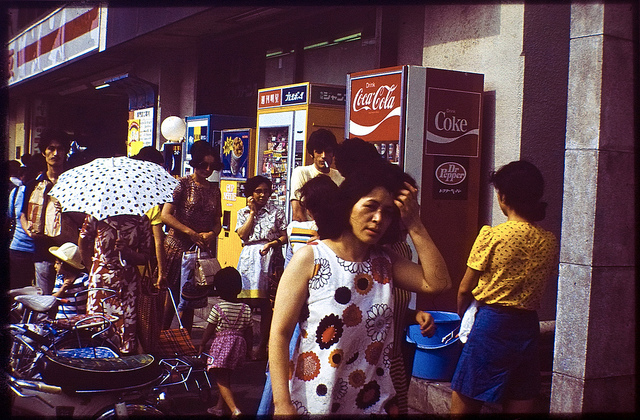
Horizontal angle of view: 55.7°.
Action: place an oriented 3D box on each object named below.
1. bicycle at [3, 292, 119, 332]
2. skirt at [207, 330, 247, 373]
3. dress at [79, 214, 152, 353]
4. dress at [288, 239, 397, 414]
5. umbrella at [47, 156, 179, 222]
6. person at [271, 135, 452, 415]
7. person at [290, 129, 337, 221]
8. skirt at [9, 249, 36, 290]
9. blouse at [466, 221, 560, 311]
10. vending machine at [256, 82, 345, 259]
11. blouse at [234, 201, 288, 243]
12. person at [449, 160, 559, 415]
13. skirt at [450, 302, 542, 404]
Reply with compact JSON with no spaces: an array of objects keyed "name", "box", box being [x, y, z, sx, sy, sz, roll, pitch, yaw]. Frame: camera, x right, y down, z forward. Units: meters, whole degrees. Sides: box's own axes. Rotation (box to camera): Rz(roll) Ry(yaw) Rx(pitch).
[{"name":"bicycle","box":[-2.571,1.054,6.040,0.892,0.316,0.609,1,-4,-23]},{"name":"skirt","box":[-0.956,1.439,6.188,0.379,0.415,0.212,2,-2,-13]},{"name":"dress","box":[-2.021,0.696,6.303,0.661,1.395,0.775,2,15,-7]},{"name":"dress","box":[0.138,0.884,4.256,0.597,1.260,0.591,3,7,-5]},{"name":"umbrella","box":[-2.265,-0.303,6.383,1.378,0.514,1.367,8,10,38]},{"name":"person","box":[0.236,0.454,4.125,1.121,1.890,0.310,1,-2,-7]},{"name":"person","box":[-0.024,-0.133,6.681,0.505,1.306,0.387,-2,-22,14]},{"name":"skirt","box":[-3.767,0.733,7.651,0.293,0.469,0.320,2,-2,-27]},{"name":"blouse","box":[1.800,0.475,5.570,0.838,0.732,0.442,5,5,0]},{"name":"vending machine","box":[-0.433,-0.748,10.170,1.044,2.180,0.850,2,3,40]},{"name":"blouse","box":[-0.738,0.127,7.947,0.638,0.527,0.338,2,3,8]},{"name":"person","box":[1.668,0.710,5.499,0.887,2.314,0.334,1,-2,16]},{"name":"skirt","box":[1.706,1.309,5.613,0.917,0.872,0.540,5,-5,-23]}]
